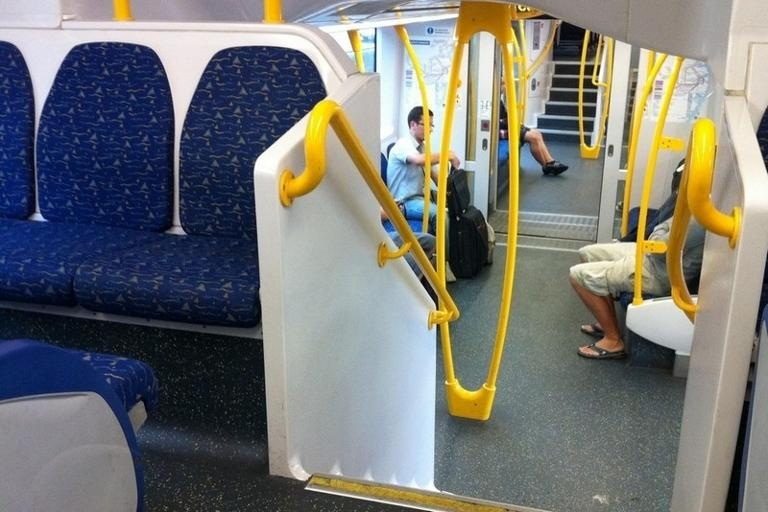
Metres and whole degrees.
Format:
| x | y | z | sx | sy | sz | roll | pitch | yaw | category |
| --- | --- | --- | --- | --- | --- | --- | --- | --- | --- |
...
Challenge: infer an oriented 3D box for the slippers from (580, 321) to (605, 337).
| x | y | z | sx | sy | sz | roll | pitch | yaw | category |
| --- | --- | --- | --- | --- | --- | --- | --- | --- | --- |
| 1.729 | 0.620 | 5.301 | 0.083 | 0.085 | 0.231 | -2 | 15 | -12 | slippers |

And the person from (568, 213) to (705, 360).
| x | y | z | sx | sy | sz | roll | pitch | yaw | category |
| --- | --- | --- | --- | --- | --- | --- | --- | --- | --- |
| 2.008 | 0.107 | 5.047 | 0.862 | 1.350 | 0.723 | 5 | 5 | 25 | person |

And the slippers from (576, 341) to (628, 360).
| x | y | z | sx | sy | sz | roll | pitch | yaw | category |
| --- | --- | --- | --- | --- | --- | --- | --- | --- | --- |
| 1.687 | 0.708 | 4.982 | 0.256 | 0.078 | 0.150 | 8 | 18 | 21 | slippers |

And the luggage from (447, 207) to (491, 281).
| x | y | z | sx | sy | sz | roll | pitch | yaw | category |
| --- | --- | --- | --- | --- | --- | --- | --- | --- | --- |
| 0.855 | -0.142 | 6.475 | 0.341 | 0.621 | 0.628 | 0 | 11 | 19 | luggage |

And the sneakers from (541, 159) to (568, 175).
| x | y | z | sx | sy | sz | roll | pitch | yaw | category |
| --- | --- | --- | --- | --- | --- | --- | --- | --- | --- |
| 2.479 | -1.231 | 9.195 | 0.413 | 0.209 | 0.162 | -1 | 57 | 33 | sneakers |
